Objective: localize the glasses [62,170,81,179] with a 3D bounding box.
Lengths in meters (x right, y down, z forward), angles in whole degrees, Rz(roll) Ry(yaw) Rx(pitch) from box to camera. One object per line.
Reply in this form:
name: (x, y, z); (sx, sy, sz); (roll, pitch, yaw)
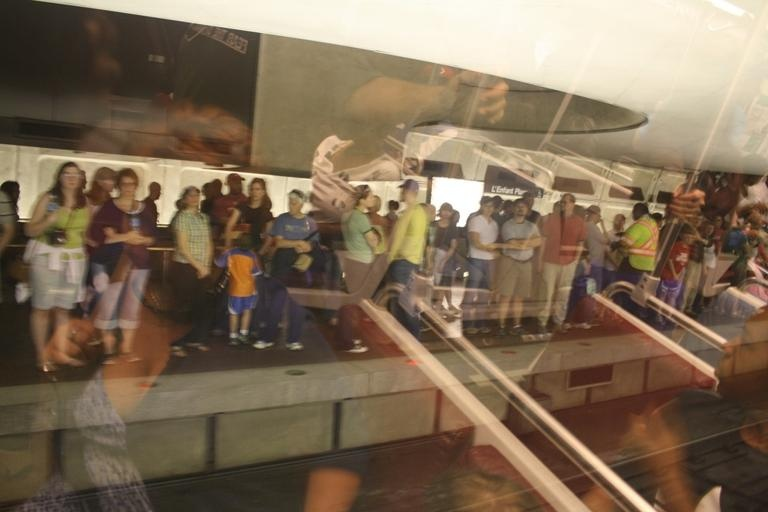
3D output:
glasses: (-0.922, -0.240, 1.576); (0.046, 0.011, 0.014); (-2, 15, -25)
